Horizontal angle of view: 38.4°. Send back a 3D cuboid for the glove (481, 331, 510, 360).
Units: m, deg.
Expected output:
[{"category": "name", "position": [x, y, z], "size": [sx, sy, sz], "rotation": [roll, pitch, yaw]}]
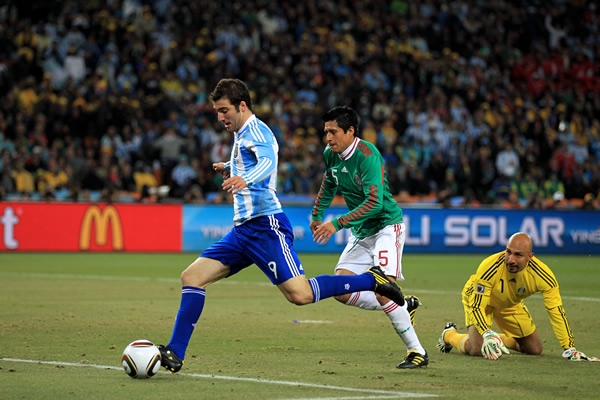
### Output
[{"category": "glove", "position": [2.845, 2.110, 12.662], "size": [0.338, 0.418, 0.453], "rotation": [3, 5, 22]}]
